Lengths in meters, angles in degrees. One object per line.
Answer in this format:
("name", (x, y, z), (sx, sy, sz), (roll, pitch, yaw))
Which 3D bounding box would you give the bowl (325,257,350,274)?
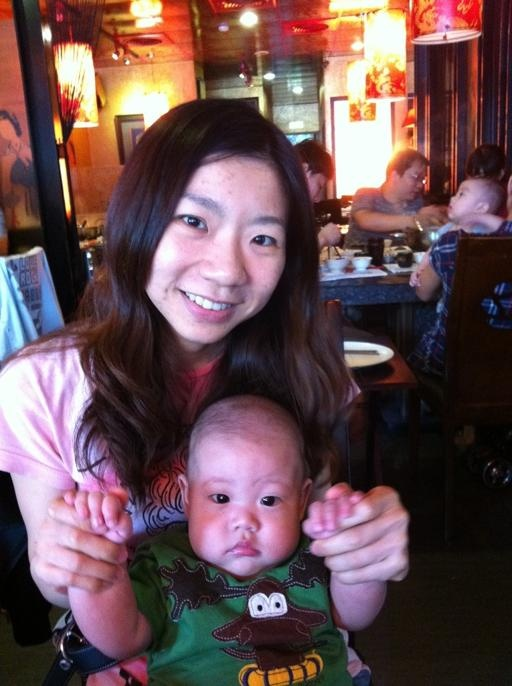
("bowl", (0.469, -0.450, 3.171), (0.109, 0.077, 0.108), (-1, 8, 0))

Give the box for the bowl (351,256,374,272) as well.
("bowl", (0.629, -0.463, 3.243), (0.105, 0.075, 0.105), (-1, 5, 0))
